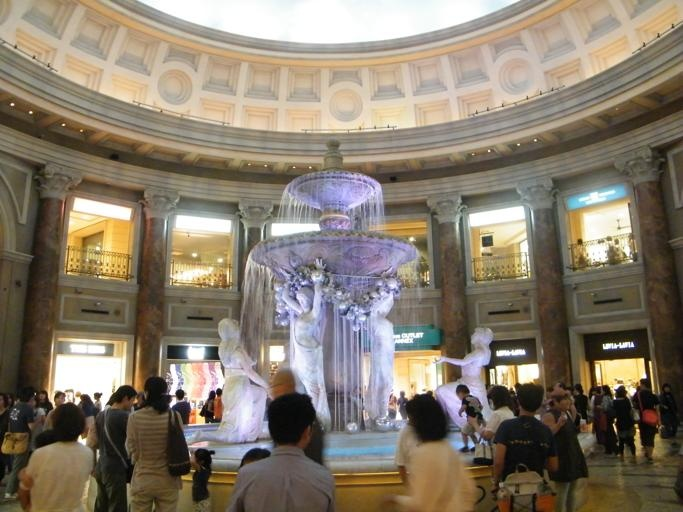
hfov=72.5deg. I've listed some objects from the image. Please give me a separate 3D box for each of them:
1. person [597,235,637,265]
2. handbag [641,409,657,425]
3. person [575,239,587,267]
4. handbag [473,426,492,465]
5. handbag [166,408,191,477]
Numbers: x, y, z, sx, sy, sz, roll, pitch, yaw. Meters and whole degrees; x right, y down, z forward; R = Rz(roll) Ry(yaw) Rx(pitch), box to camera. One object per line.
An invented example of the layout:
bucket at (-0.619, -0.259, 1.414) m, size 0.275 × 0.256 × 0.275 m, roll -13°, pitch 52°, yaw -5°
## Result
person at (7.831, -0.189, 13.217) m, size 0.867 × 0.997 × 1.012 m, roll -12°, pitch -16°, yaw 27°
handbag at (5.071, 2.654, 7.687) m, size 0.206 × 0.196 × 0.111 m, roll -29°, pitch 5°, yaw -15°
person at (7.009, -0.050, 13.660) m, size 0.318 × 0.860 × 0.236 m, roll -11°, pitch -17°, yaw 25°
handbag at (1.375, 1.889, 4.567) m, size 0.181 × 0.270 × 0.414 m, roll -6°, pitch -15°, yaw 8°
handbag at (-1.185, 1.381, 3.431) m, size 0.155 × 0.487 × 0.206 m, roll -5°, pitch -15°, yaw 2°
